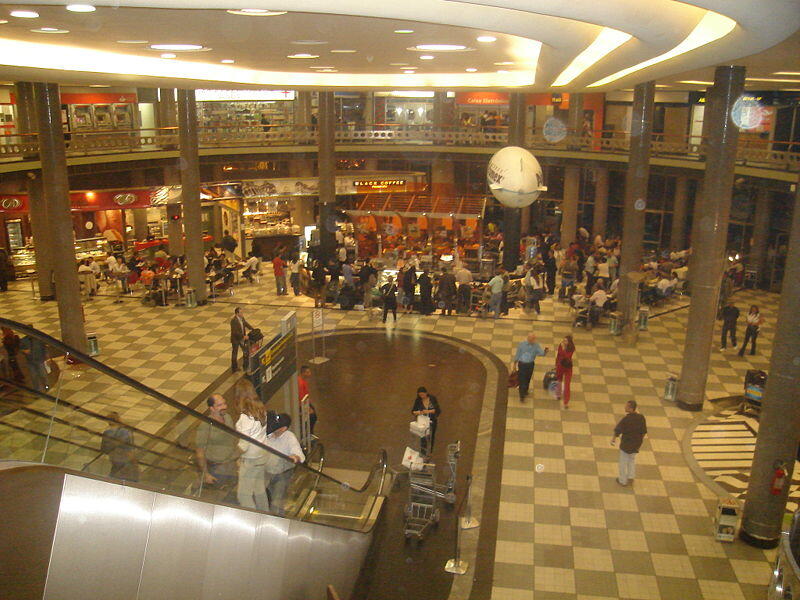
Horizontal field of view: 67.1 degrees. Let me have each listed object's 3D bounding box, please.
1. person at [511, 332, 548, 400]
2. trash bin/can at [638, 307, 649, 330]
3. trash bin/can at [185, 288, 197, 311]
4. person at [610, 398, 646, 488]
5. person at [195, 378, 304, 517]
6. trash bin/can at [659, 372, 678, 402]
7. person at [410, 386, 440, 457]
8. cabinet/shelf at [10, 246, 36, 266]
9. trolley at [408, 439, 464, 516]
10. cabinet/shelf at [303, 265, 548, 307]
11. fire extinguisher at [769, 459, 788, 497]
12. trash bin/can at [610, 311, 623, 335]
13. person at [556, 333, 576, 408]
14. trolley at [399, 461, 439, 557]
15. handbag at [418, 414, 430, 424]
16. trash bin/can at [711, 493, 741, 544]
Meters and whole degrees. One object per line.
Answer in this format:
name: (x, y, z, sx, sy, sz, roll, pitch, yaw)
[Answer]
person: (2.875, 1.345, 13.453, 0.558, 1.619, 1.341, 4, 16, 14)
trash bin/can: (7.014, 0.537, 17.489, 0.273, 0.644, 0.446, 5, 17, 16)
trash bin/can: (-6.722, -0.079, 19.376, 0.325, 0.589, 0.417, -3, 16, -11)
person: (3.891, 2.406, 10.306, 0.541, 1.594, 0.428, 2, 16, 5)
person: (-1.753, 1.775, 7.247, 0.702, 1.066, 2.063, -12, -16, -7)
trash bin/can: (6.000, 1.924, 13.405, 0.274, 0.530, 0.407, 8, 17, 24)
person: (0.484, 2.229, 10.937, 0.464, 1.334, 0.413, -2, 20, -1)
cabinet/shelf: (-13.995, -1.600, 22.442, 0.968, 0.310, 0.945, -4, 56, -14)
trolley: (0.583, 2.846, 9.908, 0.866, 0.849, 0.571, 1, -3, 5)
cabinet/shelf: (1.240, -0.505, 19.374, 7.384, 1.378, 2.932, 0, 16, -2)
fire extinguisher: (5.488, 2.582, 8.708, 0.218, 0.520, 0.083, 4, 17, 13)
trash bin/can: (6.106, 0.662, 17.082, 0.327, 0.605, 0.288, 5, 16, 14)
person: (3.538, 1.469, 13.046, 0.373, 1.607, 0.672, 5, 17, 15)
trolley: (0.312, 3.240, 9.467, 0.440, 0.596, 1.167, 1, 30, 3)
handbag: (0.419, 2.112, 10.634, 0.209, 0.142, 0.177, -1, 16, -6)
trash bin/can: (4.991, 3.371, 9.261, 0.439, 0.723, 0.436, 1, 32, 9)
